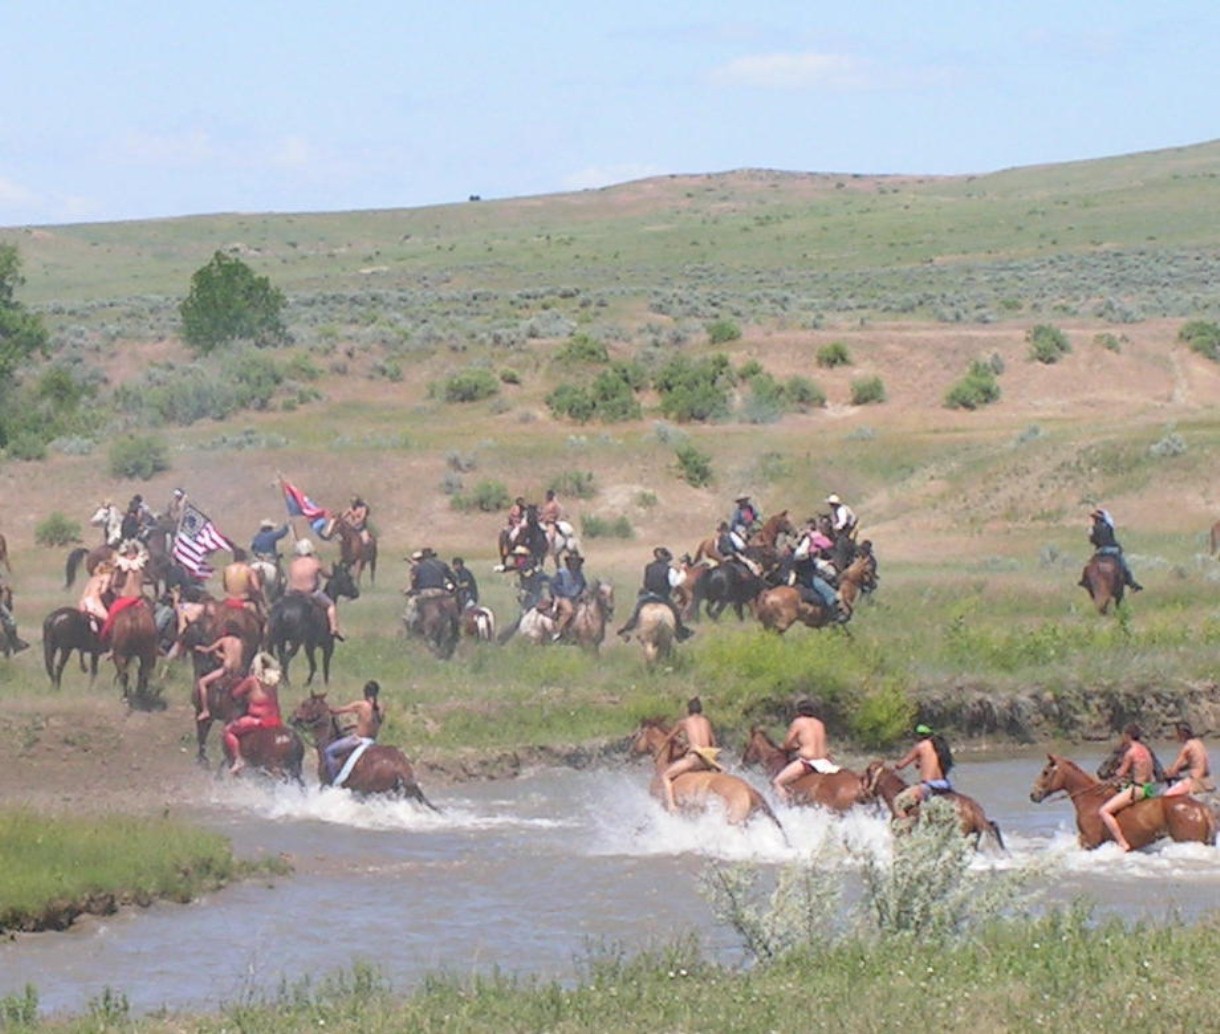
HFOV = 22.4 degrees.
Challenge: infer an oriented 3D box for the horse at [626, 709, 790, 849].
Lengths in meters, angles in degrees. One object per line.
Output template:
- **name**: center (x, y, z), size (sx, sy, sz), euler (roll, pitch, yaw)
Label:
- **horse**: center (2.016, 5.924, 70.309), size (3.590, 2.410, 1.012), euler (-2, 3, 40)

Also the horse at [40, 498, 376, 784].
- **horse**: center (-10.776, 3.744, 77.065), size (5.100, 4.106, 7.017), euler (2, 11, -1)

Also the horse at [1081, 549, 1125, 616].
- **horse**: center (13.152, 1.878, 82.214), size (1.027, 1.682, 0.771), euler (-3, 2, 19)

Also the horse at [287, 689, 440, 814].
- **horse**: center (-6.063, 5.674, 72.498), size (2.883, 2.777, 2.767), euler (-5, 3, -9)
